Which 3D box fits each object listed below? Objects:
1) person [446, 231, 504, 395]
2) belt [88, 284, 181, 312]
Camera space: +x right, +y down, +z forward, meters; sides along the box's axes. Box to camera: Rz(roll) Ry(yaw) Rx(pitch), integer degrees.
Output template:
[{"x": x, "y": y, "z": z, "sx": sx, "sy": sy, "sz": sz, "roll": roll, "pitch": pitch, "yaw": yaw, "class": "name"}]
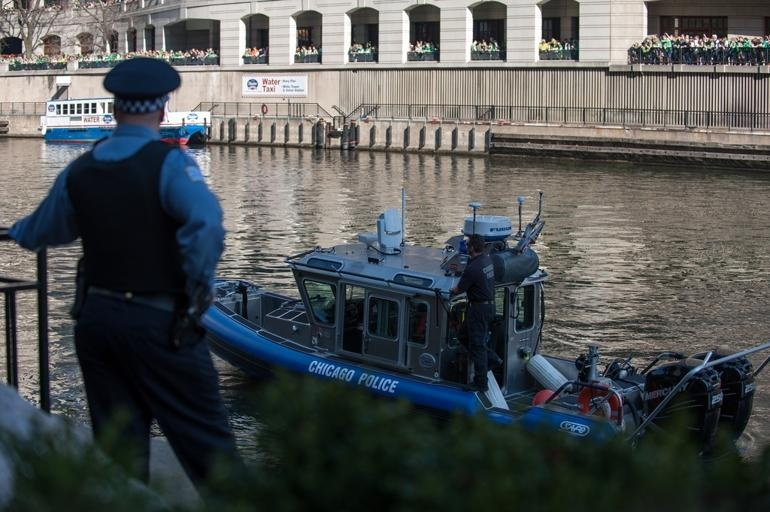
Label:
[{"x": 1.875, "y": 1.130, "z": 27.009, "sx": 0.994, "sy": 3.054, "sz": 0.630, "roll": 0, "pitch": 8, "yaw": -6, "class": "person"}, {"x": -3.837, "y": 0.689, "z": 21.169, "sx": 1.280, "sy": 0.330, "sz": 0.082, "roll": 1, "pitch": 8, "yaw": 3, "class": "belt"}]
